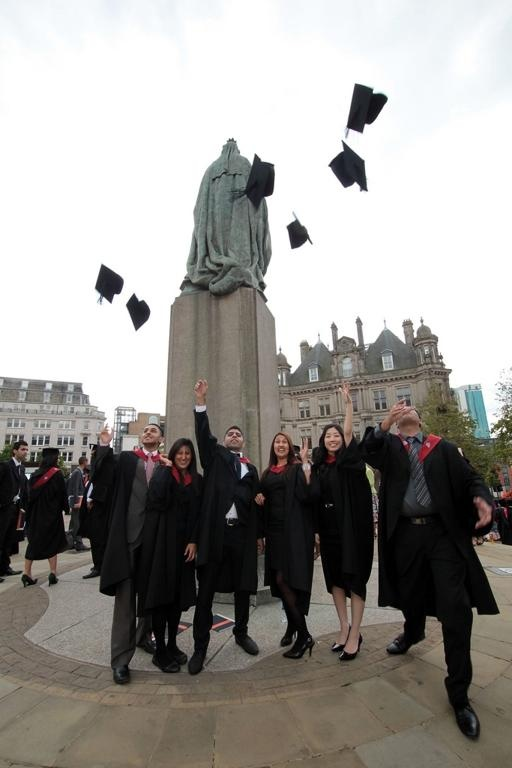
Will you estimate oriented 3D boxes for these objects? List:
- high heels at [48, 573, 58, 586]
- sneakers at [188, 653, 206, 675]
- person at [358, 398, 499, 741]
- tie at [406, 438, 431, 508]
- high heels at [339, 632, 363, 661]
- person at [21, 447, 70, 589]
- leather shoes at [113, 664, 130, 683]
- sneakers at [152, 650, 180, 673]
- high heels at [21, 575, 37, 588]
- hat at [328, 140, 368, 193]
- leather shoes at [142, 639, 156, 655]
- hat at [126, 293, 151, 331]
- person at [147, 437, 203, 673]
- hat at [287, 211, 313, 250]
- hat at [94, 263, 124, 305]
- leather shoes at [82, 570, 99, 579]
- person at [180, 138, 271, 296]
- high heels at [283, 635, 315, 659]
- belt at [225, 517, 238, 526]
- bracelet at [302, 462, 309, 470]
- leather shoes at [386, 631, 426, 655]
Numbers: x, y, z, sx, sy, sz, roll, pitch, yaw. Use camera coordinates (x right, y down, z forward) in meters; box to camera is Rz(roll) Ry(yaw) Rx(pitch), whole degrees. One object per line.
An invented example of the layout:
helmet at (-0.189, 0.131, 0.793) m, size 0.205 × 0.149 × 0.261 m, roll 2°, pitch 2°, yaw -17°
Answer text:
high heels at (-2.572, 2.484, 6.354) m, size 0.072 × 0.124 × 0.275 m, roll 5°, pitch -37°, yaw -11°
sneakers at (-0.437, 2.038, 3.667) m, size 0.109 × 0.108 × 0.168 m, roll -1°, pitch -7°, yaw -2°
person at (1.158, 1.075, 3.423) m, size 0.796 × 1.999 × 1.139 m, roll -3°, pitch -1°, yaw -13°
tie at (1.138, 0.663, 3.563) m, size 0.076 × 0.386 × 0.259 m, roll 1°, pitch -9°, yaw -8°
high heels at (0.735, 2.050, 3.867) m, size 0.232 × 0.178 × 0.102 m, roll 20°, pitch -31°, yaw -40°
person at (-2.755, 1.724, 6.634) m, size 0.541 × 1.730 × 0.822 m, roll 1°, pitch -5°, yaw -23°
leather shoes at (-0.935, 2.027, 3.512) m, size 0.113 × 0.090 × 0.156 m, roll 1°, pitch -8°, yaw -17°
sneakers at (-0.655, 2.067, 3.761) m, size 0.175 × 0.110 × 0.285 m, roll 3°, pitch -9°, yaw -29°
high heels at (-2.841, 2.451, 6.258) m, size 0.082 × 0.167 × 0.305 m, roll 4°, pitch -15°, yaw -3°
hat at (1.025, -2.355, 5.631) m, size 0.239 × 0.646 × 0.550 m, roll 0°, pitch -6°, yaw -13°
leather shoes at (-0.873, 2.189, 4.190) m, size 0.105 × 0.095 × 0.097 m, roll 10°, pitch -16°, yaw 43°
hat at (-1.612, -0.971, 6.943) m, size 0.242 × 0.553 × 0.313 m, roll 2°, pitch -6°, yaw -31°
person at (-0.662, 1.288, 3.955) m, size 0.366 × 1.717 × 0.722 m, roll -2°, pitch -5°, yaw 15°
hat at (0.558, -1.960, 6.679) m, size 0.260 × 0.472 × 0.409 m, roll -1°, pitch -6°, yaw -1°
hat at (-1.956, -1.311, 6.593) m, size 0.351 × 0.541 × 0.178 m, roll -2°, pitch -4°, yaw 10°
leather shoes at (-2.235, 2.573, 6.781) m, size 0.242 × 0.114 × 0.085 m, roll 18°, pitch -33°, yaw -37°
person at (-0.497, -2.726, 8.149) m, size 1.172 × 3.042 × 1.092 m, roll -3°, pitch -12°, yaw 17°
high heels at (0.351, 2.040, 3.943) m, size 0.308 × 0.153 × 0.139 m, roll 3°, pitch -7°, yaw -29°
belt at (-0.198, 1.121, 4.087) m, size 0.071 × 0.067 × 0.031 m, roll -6°, pitch 25°, yaw -1°
bracelet at (0.418, 0.690, 4.252) m, size 0.047 × 0.066 × 0.041 m, roll 4°, pitch -10°, yaw -11°
leather shoes at (1.161, 2.010, 3.891) m, size 0.251 × 0.110 × 0.107 m, roll -25°, pitch -23°, yaw -19°
